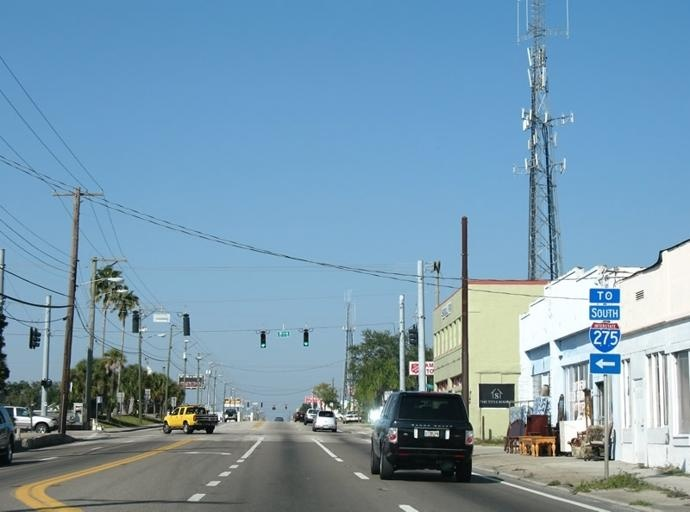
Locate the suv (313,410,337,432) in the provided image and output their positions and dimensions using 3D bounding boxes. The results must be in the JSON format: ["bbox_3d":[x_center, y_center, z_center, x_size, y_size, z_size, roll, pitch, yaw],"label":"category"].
[{"bbox_3d":[-1.561,12.682,72.137,1.035,1.043,2.066,0,2,-3],"label":"suv"}]

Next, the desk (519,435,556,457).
[{"bbox_3d":[8.148,8.048,40.001,1.644,0.935,1.048,-8,-18,25],"label":"desk"}]

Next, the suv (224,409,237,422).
[{"bbox_3d":[-16.526,23.018,135.015,1.396,1.244,2.494,2,3,-4],"label":"suv"}]

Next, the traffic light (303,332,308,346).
[{"bbox_3d":[-2.902,5.872,68.394,0.217,0.978,0.518,3,-15,-10],"label":"traffic light"}]

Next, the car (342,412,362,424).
[{"bbox_3d":[0.653,19.494,113.750,1.133,0.943,2.546,1,-15,-10],"label":"car"}]

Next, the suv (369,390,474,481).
[{"bbox_3d":[2.153,5.389,29.223,1.777,1.878,3.571,2,-5,-5],"label":"suv"}]
